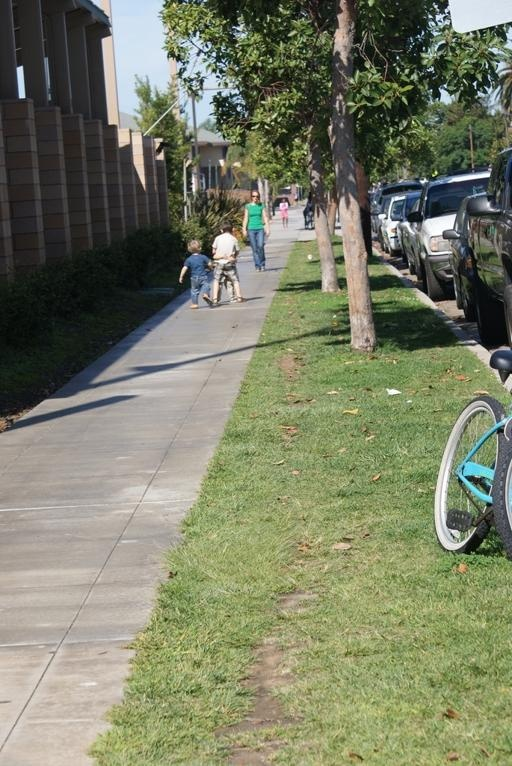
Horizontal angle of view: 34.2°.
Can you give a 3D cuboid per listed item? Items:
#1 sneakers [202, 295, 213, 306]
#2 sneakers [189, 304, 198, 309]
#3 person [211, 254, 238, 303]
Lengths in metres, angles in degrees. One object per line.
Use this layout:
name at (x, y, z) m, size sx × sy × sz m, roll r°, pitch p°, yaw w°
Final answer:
sneakers at (-0.970, -1.669, 17.000) m, size 0.106 × 0.309 × 0.123 m, roll -29°, pitch 23°, yaw 18°
sneakers at (-1.262, -1.568, 17.056) m, size 0.126 × 0.133 × 0.328 m, roll 0°, pitch 10°, yaw -7°
person at (-0.611, -2.128, 17.244) m, size 0.578 × 1.042 × 0.347 m, roll -1°, pitch -32°, yaw -1°
